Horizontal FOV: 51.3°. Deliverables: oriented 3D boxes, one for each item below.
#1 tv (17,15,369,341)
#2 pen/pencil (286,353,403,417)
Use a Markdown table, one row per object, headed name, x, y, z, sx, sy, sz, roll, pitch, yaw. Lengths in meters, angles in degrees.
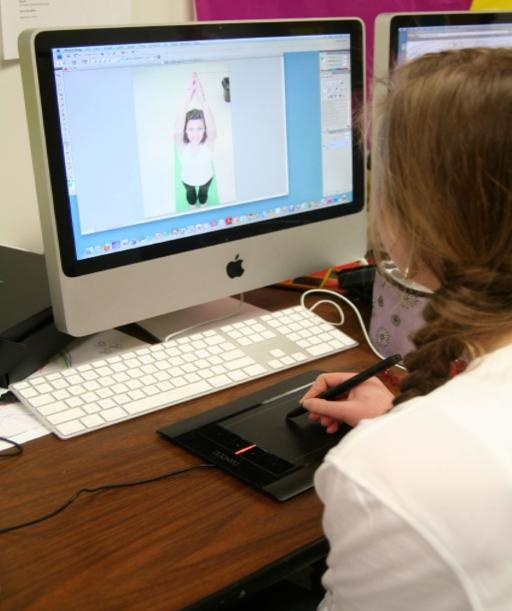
| name | x | y | z | sx | sy | sz | roll | pitch | yaw |
| --- | --- | --- | --- | --- | --- | --- | --- | --- | --- |
| tv | -0.087 | -0.189 | 0.789 | 0.531 | 0.360 | 0.136 | -18 | 34 | -31 |
| pen/pencil | 0.109 | 0.101 | 0.668 | 0.140 | 0.015 | 0.015 | -27 | 3 | -5 |
